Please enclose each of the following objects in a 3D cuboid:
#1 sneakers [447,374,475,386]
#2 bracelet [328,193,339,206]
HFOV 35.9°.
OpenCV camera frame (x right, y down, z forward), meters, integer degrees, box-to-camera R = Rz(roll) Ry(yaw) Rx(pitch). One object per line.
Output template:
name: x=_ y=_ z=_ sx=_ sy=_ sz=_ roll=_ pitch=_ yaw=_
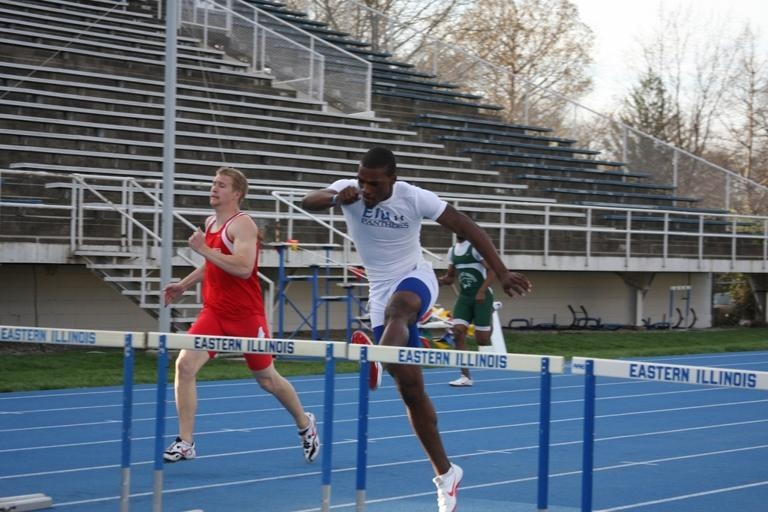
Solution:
sneakers: x=1.329 y=2.107 z=19.958 sx=0.471 sy=0.156 sz=0.164 roll=2 pitch=-3 yaw=-11
bracelet: x=-0.612 y=-0.696 z=14.797 sx=0.063 sy=0.138 sz=0.114 roll=11 pitch=4 yaw=8
